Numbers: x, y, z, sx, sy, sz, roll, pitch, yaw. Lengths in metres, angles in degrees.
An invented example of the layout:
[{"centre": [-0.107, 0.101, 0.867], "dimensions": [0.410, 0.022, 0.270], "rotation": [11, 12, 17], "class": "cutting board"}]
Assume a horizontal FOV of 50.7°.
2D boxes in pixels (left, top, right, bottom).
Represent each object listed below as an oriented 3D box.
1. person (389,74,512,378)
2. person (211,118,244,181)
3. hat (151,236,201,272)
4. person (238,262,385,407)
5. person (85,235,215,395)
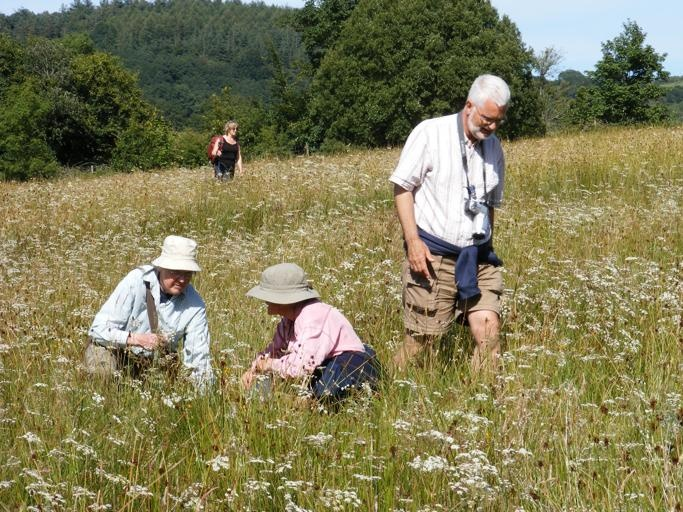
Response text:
[{"centre": [0.939, -0.132, 6.359], "dimensions": [0.983, 2.221, 0.715], "rotation": [0, 12, 6], "class": "person"}, {"centre": [-2.315, -2.147, 14.436], "dimensions": [0.584, 1.112, 1.207], "rotation": [-3, 15, -9], "class": "person"}, {"centre": [-1.464, -0.009, 6.495], "dimensions": [0.317, 0.230, 0.327], "rotation": [6, 4, 33], "class": "hat"}, {"centre": [-0.272, 0.990, 6.461], "dimensions": [0.990, 1.882, 1.079], "rotation": [0, 1, 34], "class": "person"}, {"centre": [-1.671, 0.543, 6.685], "dimensions": [0.989, 1.550, 0.979], "rotation": [9, -1, -4], "class": "person"}]
